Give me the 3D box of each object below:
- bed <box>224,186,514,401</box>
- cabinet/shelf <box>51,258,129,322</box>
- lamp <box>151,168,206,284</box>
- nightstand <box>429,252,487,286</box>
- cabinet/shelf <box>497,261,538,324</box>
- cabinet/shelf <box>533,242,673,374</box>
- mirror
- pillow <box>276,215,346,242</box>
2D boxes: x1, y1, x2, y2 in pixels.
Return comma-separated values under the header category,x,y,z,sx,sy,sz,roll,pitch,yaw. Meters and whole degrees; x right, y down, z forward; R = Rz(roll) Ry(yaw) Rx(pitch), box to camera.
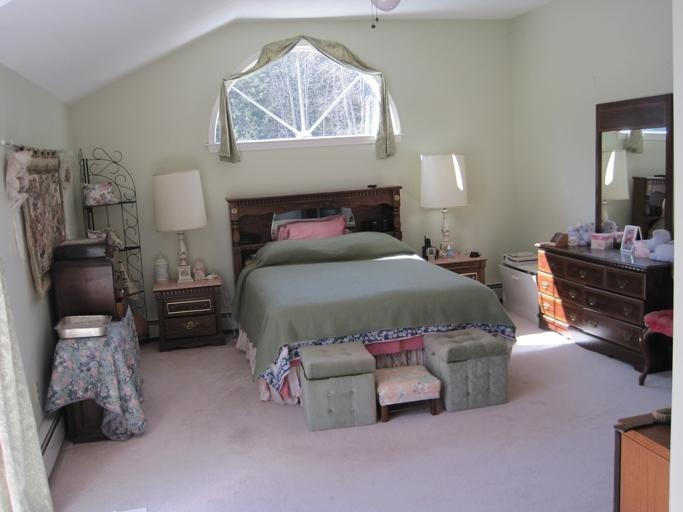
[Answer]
category,x,y,z,sx,sy,sz,roll,pitch,yaw
bed,-0.095,0.198,5.027,1.884,1.363,2.255,-7,15,-16
cabinet/shelf,-1.960,0.236,4.073,0.428,0.468,0.452,-2,11,-4
lamp,-1.735,-0.314,5.488,0.487,1.174,0.383,5,14,29
nightstand,1.391,0.044,5.976,0.452,0.496,0.361,-4,9,-16
cabinet/shelf,2.010,0.422,5.828,0.470,0.609,0.589,-8,11,-24
cabinet/shelf,2.364,0.474,4.587,0.326,0.625,0.980,-4,10,-16
mirror,2.691,-0.815,4.762,0.171,1.290,0.935,-4,13,-10
pillow,-0.353,-0.321,5.835,0.462,0.150,0.374,-4,16,-7
